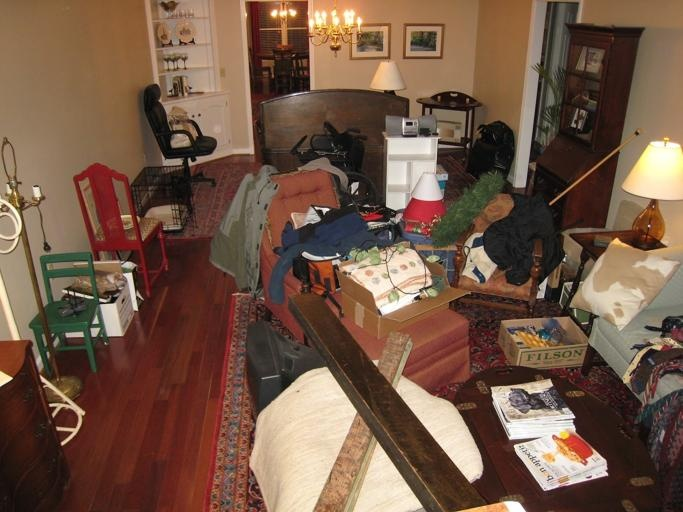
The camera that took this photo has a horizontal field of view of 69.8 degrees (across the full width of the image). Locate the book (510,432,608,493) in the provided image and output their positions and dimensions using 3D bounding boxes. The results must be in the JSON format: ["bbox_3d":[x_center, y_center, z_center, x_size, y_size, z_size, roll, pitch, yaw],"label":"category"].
[{"bbox_3d":[1.135,1.081,2.571,0.263,0.065,0.265,-10,25,-15],"label":"book"}]

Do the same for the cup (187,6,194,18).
[{"bbox_3d":[-2.583,-4.161,8.366,0.113,0.160,0.143,-9,25,-12],"label":"cup"}]

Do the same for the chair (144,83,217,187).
[{"bbox_3d":[-2.443,-1.815,7.446,1.042,1.526,0.989,9,27,25],"label":"chair"}]

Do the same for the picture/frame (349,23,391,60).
[{"bbox_3d":[0.502,-4.008,9.066,0.780,0.671,0.034,-3,29,-6],"label":"picture/frame"}]

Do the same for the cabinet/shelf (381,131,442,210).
[{"bbox_3d":[0.787,-0.980,5.662,0.603,0.786,0.416,0,24,7],"label":"cabinet/shelf"}]

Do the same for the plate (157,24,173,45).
[{"bbox_3d":[-2.912,-3.672,8.116,0.146,0.331,0.360,3,25,13],"label":"plate"}]

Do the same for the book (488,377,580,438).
[{"bbox_3d":[1.092,0.866,2.823,0.279,0.098,0.283,-6,26,-11],"label":"book"}]

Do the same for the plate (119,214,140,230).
[{"bbox_3d":[-2.223,-0.336,5.118,0.213,0.050,0.217,31,41,26],"label":"plate"}]

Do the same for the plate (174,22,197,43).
[{"bbox_3d":[-2.688,-3.838,8.433,0.323,0.368,0.191,-13,26,-22],"label":"plate"}]

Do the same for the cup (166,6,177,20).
[{"bbox_3d":[-2.857,-4.057,8.201,0.169,0.171,0.213,-9,25,-13],"label":"cup"}]

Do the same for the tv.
[{"bbox_3d":[-0.299,0.563,2.587,0.379,0.351,0.401,-7,25,-9],"label":"tv"}]

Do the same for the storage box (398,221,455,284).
[{"bbox_3d":[0.765,0.028,4.466,0.547,0.708,0.520,2,46,7],"label":"storage box"}]

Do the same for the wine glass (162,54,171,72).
[{"bbox_3d":[-2.994,-3.340,8.431,0.155,0.249,0.195,-9,25,-14],"label":"wine glass"}]

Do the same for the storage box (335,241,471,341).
[{"bbox_3d":[0.373,0.209,3.577,0.905,0.344,1.136,-7,26,0],"label":"storage box"}]

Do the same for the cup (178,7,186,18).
[{"bbox_3d":[-2.697,-4.102,8.278,0.094,0.126,0.193,-1,24,5],"label":"cup"}]

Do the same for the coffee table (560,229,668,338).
[{"bbox_3d":[2.152,0.194,3.711,0.622,0.489,0.431,-12,26,-19],"label":"coffee table"}]

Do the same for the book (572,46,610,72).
[{"bbox_3d":[2.527,-1.990,4.972,0.062,0.252,0.262,-2,25,-37],"label":"book"}]

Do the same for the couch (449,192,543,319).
[{"bbox_3d":[1.562,-0.069,4.842,0.901,1.214,1.139,12,60,15],"label":"couch"}]

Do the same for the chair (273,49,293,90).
[{"bbox_3d":[-1.613,-5.149,13.630,0.570,1.142,0.387,-9,25,-13],"label":"chair"}]

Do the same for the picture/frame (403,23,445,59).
[{"bbox_3d":[1.513,-4.053,9.145,0.570,0.493,0.042,-1,24,-4],"label":"picture/frame"}]
